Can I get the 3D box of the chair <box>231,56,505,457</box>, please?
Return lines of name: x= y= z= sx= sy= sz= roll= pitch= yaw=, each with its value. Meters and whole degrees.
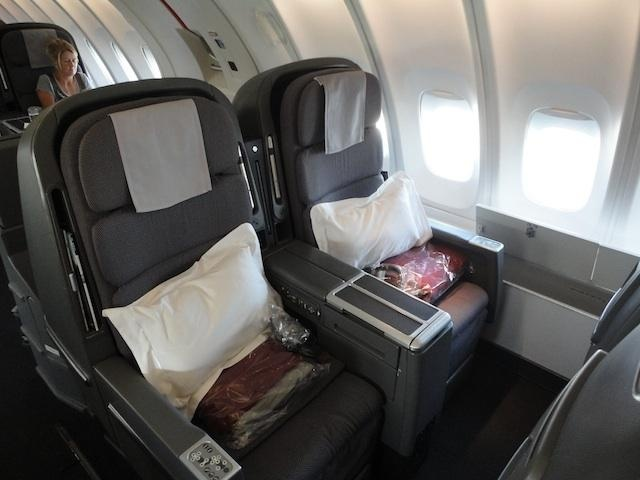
chair: x=0.251 y=0.109 z=2.441 sx=1.137 sy=1.835 sz=1.138 roll=-31 pitch=43 yaw=-31

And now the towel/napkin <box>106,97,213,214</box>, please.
towel/napkin: x=-0.654 y=-0.350 z=1.976 sx=0.096 sy=0.448 sz=0.399 roll=11 pitch=25 yaw=42

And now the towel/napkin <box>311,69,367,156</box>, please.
towel/napkin: x=0.091 y=-0.696 z=2.528 sx=0.061 sy=0.379 sz=0.366 roll=22 pitch=40 yaw=39
